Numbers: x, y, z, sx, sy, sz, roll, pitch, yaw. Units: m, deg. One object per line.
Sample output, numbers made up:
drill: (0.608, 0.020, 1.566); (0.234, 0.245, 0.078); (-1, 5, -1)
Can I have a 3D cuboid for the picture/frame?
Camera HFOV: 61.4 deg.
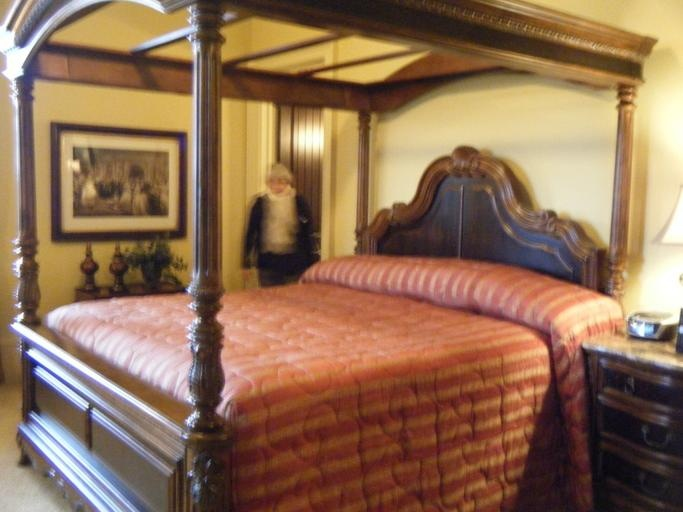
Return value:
picture/frame: (-2.335, -0.779, 5.881); (1.216, 1.093, 0.107); (-2, 2, -36)
